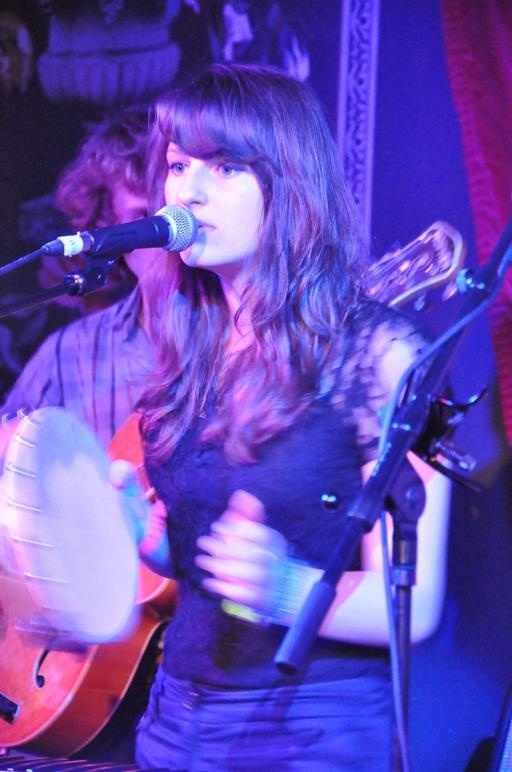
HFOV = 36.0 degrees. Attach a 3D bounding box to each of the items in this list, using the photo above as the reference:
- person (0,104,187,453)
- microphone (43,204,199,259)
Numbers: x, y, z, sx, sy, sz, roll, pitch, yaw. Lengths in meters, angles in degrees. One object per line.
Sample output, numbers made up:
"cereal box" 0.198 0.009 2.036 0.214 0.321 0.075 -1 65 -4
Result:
"person" -0.393 -0.250 2.026 0.195 0.811 0.553 13 21 -46
"microphone" -0.168 -0.191 1.104 0.083 0.085 0.296 -7 4 36
